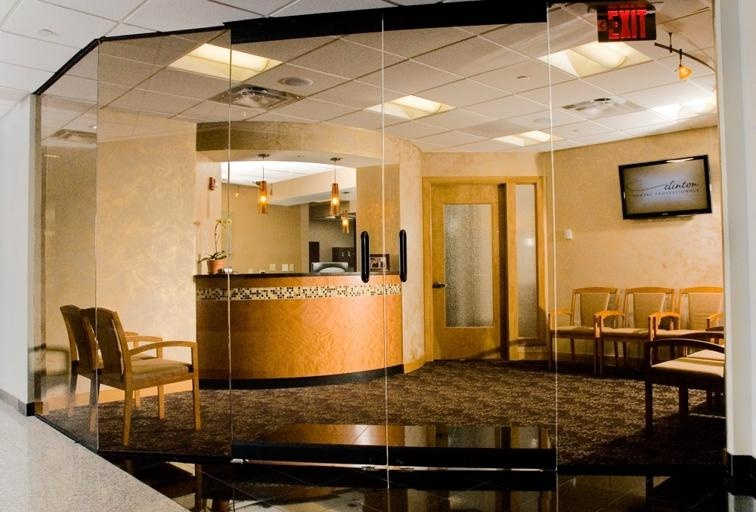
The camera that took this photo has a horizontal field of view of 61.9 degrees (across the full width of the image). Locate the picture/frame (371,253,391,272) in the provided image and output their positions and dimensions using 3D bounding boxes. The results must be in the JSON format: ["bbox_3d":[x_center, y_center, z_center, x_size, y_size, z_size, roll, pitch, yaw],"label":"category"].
[{"bbox_3d":[0.030,0.054,5.850,0.218,0.163,0.106,0,2,17],"label":"picture/frame"}]

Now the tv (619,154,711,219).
[{"bbox_3d":[2.690,-0.643,5.848,0.763,0.443,0.070,-3,-2,20],"label":"tv"}]

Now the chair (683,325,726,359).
[{"bbox_3d":[2.790,0.699,5.440,0.345,0.379,0.338,2,1,24],"label":"chair"}]

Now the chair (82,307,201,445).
[{"bbox_3d":[-2.213,1.051,5.873,0.945,1.024,0.984,-1,-3,34],"label":"chair"}]

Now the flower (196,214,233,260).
[{"bbox_3d":[-1.673,-0.155,6.654,0.356,0.484,0.293,-4,7,-5],"label":"flower"}]

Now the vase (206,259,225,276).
[{"bbox_3d":[-1.622,0.098,6.321,0.164,0.104,0.143,2,-2,18],"label":"vase"}]

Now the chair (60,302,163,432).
[{"bbox_3d":[-2.507,1.031,6.155,0.851,1.058,0.884,6,4,15],"label":"chair"}]
